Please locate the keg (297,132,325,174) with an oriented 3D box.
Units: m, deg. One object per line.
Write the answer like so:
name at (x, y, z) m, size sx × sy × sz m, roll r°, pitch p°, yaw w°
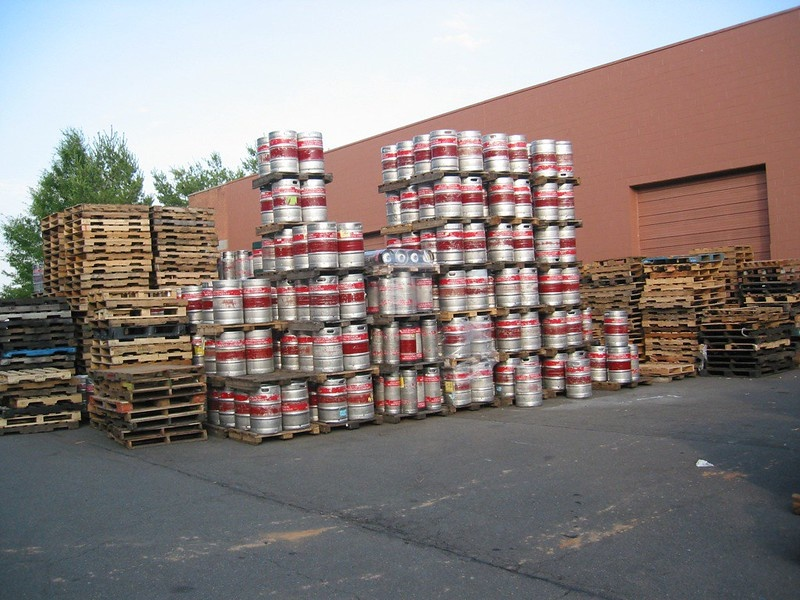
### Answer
keg at (-1.599, -2.604, 13.215) m, size 0.431 × 0.727 × 0.205 m, roll -4°, pitch -3°, yaw -11°
